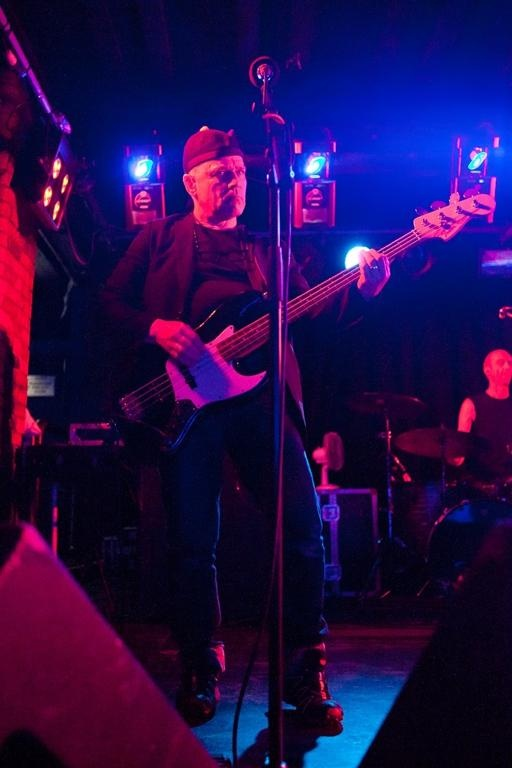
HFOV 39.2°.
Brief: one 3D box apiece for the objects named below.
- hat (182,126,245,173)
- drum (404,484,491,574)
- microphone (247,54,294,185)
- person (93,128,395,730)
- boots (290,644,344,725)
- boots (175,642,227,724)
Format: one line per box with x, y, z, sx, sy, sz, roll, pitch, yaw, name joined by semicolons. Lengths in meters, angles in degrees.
-0.136;-0.705;2.173;0.151;0.133;0.119;-3;15;3;hat
1.173;0.914;4.484;0.284;0.607;1.015;0;-10;-7;drum
0.038;-0.570;1.579;0.073;0.361;0.129;-7;10;0;microphone
-0.047;0.020;1.972;0.671;1.630;0.526;-10;-12;41;person
0.134;0.702;1.681;0.134;0.173;0.167;-3;-10;6;boots
-0.130;0.682;1.717;0.069;0.092;0.221;6;25;-3;boots
